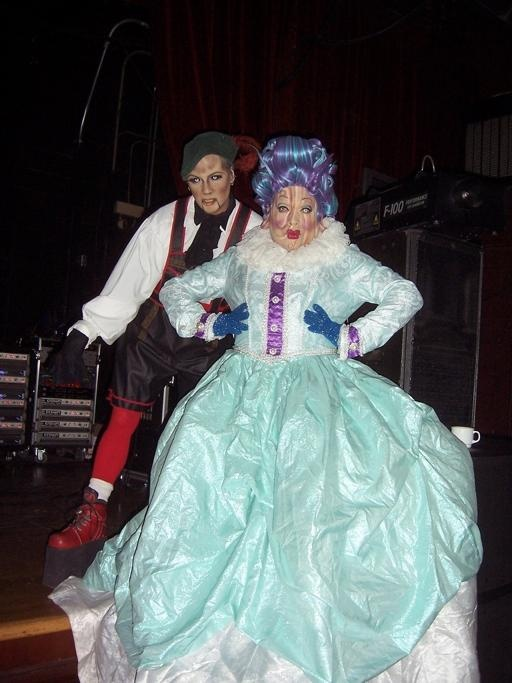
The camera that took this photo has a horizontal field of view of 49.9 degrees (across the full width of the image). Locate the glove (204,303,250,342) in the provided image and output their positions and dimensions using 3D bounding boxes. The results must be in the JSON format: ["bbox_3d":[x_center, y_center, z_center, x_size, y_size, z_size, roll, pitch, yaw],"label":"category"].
[{"bbox_3d":[-0.061,-0.039,1.165,0.073,0.072,0.023,33,6,28],"label":"glove"}]

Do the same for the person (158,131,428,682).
[{"bbox_3d":[0.067,0.036,1.073,0.541,0.967,0.546,2,3,-2],"label":"person"}]

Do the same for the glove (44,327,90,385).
[{"bbox_3d":[-0.440,0.039,1.306,0.041,0.169,0.135,1,6,35],"label":"glove"}]

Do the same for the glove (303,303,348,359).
[{"bbox_3d":[0.136,-0.022,1.119,0.066,0.100,0.024,-46,-2,-40],"label":"glove"}]

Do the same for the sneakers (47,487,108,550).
[{"bbox_3d":[-0.420,0.426,1.323,0.074,0.128,0.193,-1,-5,24],"label":"sneakers"}]
